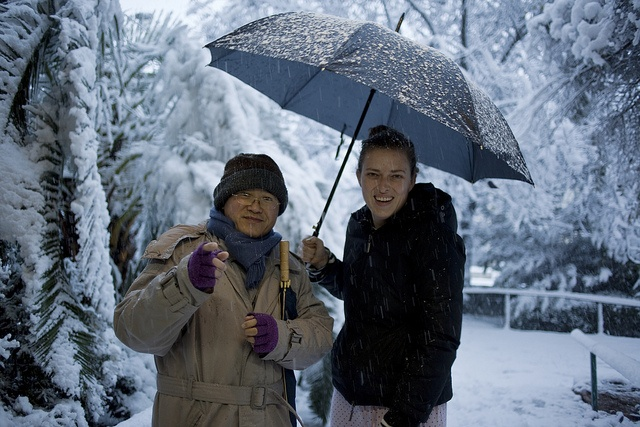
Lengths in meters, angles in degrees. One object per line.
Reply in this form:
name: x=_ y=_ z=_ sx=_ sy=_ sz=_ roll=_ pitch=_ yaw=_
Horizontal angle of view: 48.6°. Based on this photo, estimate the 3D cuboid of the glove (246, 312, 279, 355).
glove: x=-0.495 y=1.050 z=6.288 sx=0.383 sy=0.160 sz=0.293 roll=12 pitch=22 yaw=-47

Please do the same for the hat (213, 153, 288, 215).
hat: x=-0.627 y=-0.320 z=6.539 sx=0.514 sy=0.478 sz=0.544 roll=14 pitch=-28 yaw=-20

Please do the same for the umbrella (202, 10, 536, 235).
umbrella: x=0.627 y=-1.095 z=7.299 sx=2.284 sy=2.116 sz=2.586 roll=29 pitch=0 yaw=19

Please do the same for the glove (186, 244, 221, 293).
glove: x=-1.014 y=0.460 z=6.088 sx=0.261 sy=0.407 sz=0.145 roll=6 pitch=1 yaw=-11
